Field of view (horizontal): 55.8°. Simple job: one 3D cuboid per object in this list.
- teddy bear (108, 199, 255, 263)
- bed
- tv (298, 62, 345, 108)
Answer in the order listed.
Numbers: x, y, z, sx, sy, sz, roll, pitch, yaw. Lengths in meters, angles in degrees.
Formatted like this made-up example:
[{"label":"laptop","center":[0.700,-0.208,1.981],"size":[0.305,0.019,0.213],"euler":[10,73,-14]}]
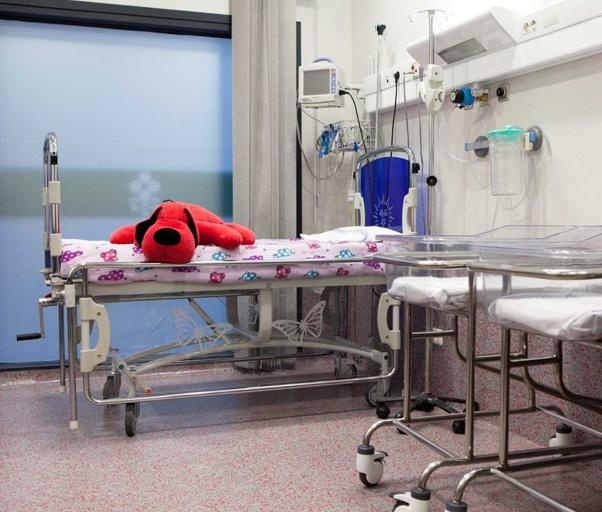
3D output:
[{"label":"teddy bear","center":[-0.478,-0.108,2.472],"size":[0.530,0.267,0.337],"euler":[-4,5,-44]},{"label":"bed","center":[-0.354,0.092,2.959],"size":[1.725,1.273,1.037],"euler":[-2,-3,-23]},{"label":"tv","center":[0.126,-1.044,3.446],"size":[0.262,0.280,0.172],"euler":[2,4,25]}]
